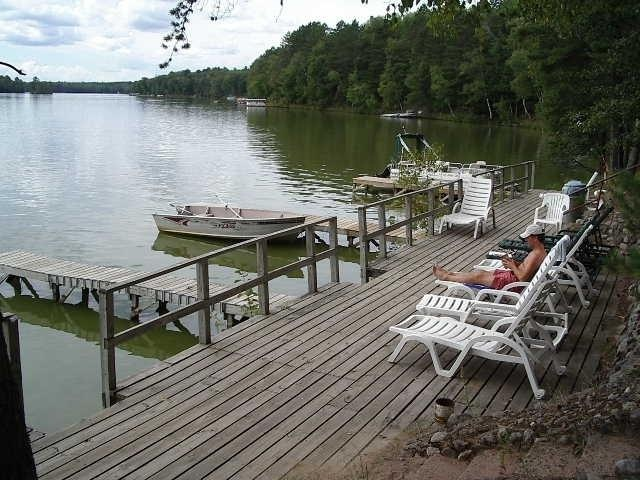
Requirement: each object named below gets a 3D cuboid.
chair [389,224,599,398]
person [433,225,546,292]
[{"bbox_3d":[2.023,0.698,6.249,1.690,1.176,2.351,6,15,30],"label":"chair"},{"bbox_3d":[2.241,0.252,7.493,1.715,0.883,0.718,-4,15,33],"label":"person"}]
